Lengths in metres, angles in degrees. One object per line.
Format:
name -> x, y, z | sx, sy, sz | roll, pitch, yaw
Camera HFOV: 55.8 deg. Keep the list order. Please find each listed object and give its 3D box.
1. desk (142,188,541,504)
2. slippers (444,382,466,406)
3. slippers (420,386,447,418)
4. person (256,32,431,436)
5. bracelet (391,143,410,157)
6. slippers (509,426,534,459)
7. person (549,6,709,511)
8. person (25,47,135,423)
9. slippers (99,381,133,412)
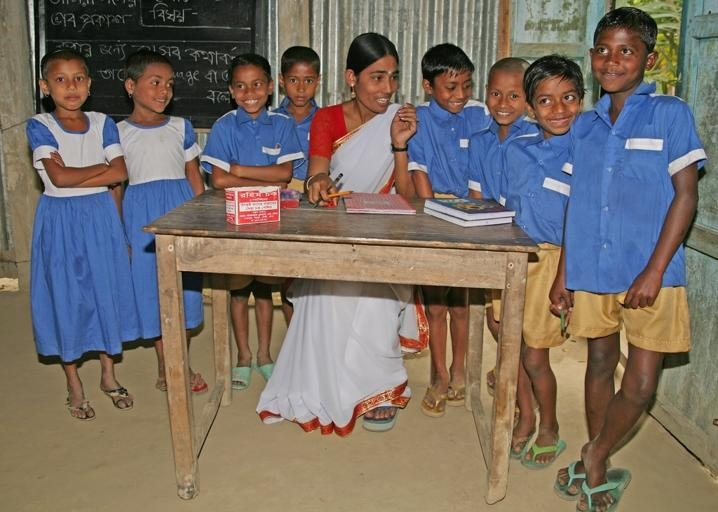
desk -> -0.075, 0.404, 3.205 | 1.618, 1.279, 0.704 | 0, 14, 2
slippers -> 0.524, 0.761, 3.724 | 0.115, 0.087, 0.230 | 0, 4, 4
slippers -> 0.400, 0.787, 3.641 | 0.118, 0.082, 0.249 | 1, 7, 5
person -> -0.079, -0.103, 3.529 | 0.954, 2.042, 0.791 | -14, 22, -43
bracelet -> 0.209, -0.550, 3.491 | 0.055, 0.064, 0.058 | 4, 10, 9
slippers -> 0.800, 0.917, 3.331 | 0.082, 0.061, 0.211 | 4, 24, 32
person -> 1.131, 0.038, 2.932 | 0.562, 2.143, 0.455 | 2, 14, 12
person -> -1.498, -0.262, 3.569 | 0.535, 1.597, 0.412 | -6, 15, -20
slippers -> -1.324, 0.751, 3.711 | 0.086, 0.064, 0.199 | -16, 29, -37
